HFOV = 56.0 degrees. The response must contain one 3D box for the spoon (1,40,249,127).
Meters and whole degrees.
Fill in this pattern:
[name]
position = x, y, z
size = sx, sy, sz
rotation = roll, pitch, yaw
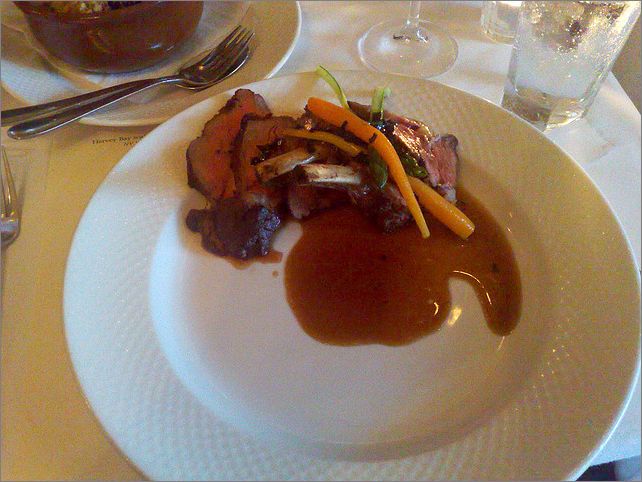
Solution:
[spoon]
position = -0.626, -0.503, 1.956
size = 0.499, 0.075, 0.092
rotation = -29, 63, -11
